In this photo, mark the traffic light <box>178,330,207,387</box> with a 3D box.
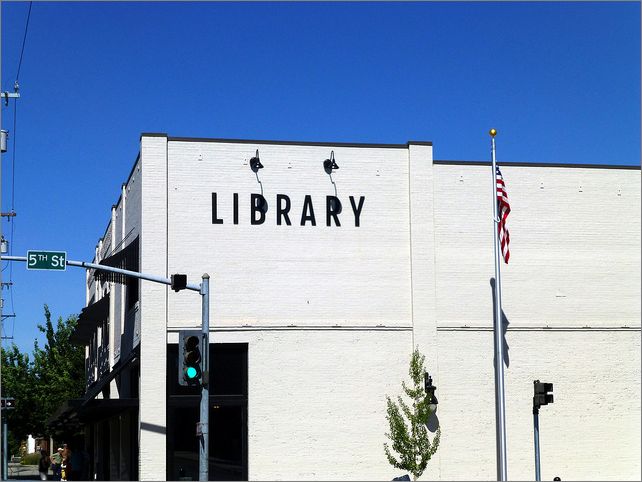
[{"bbox_3d":[-4.669,4.343,53.142,0.967,1.980,0.742,4,-14,-14],"label":"traffic light"}]

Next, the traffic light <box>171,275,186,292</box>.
[{"bbox_3d":[-5.287,1.578,54.436,0.594,0.622,0.469,3,-14,-11],"label":"traffic light"}]
